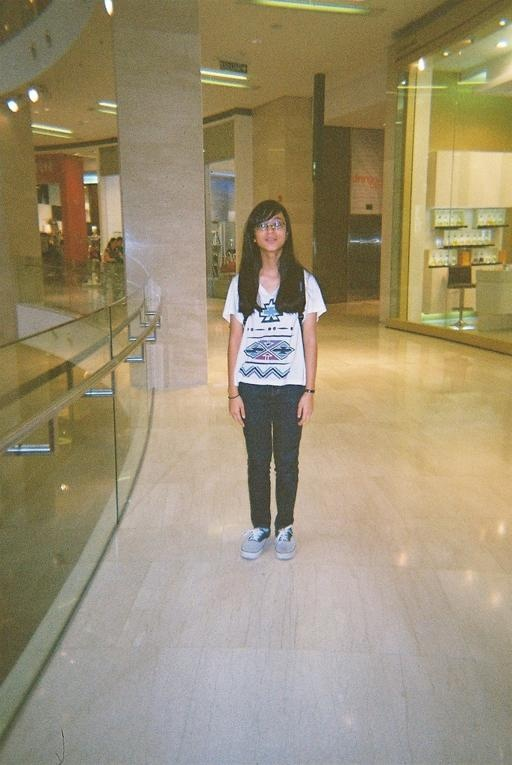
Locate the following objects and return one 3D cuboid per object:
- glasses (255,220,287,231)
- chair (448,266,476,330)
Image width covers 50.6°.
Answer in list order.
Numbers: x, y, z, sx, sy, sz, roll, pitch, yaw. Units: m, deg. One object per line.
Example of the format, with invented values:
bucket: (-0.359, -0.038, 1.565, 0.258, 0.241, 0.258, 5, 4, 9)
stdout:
glasses: (0.052, -0.593, 2.048, 0.111, 0.054, 0.037, 0, 6, 5)
chair: (3.391, -1.430, 8.978, 0.389, 1.036, 0.368, -1, 7, 13)
